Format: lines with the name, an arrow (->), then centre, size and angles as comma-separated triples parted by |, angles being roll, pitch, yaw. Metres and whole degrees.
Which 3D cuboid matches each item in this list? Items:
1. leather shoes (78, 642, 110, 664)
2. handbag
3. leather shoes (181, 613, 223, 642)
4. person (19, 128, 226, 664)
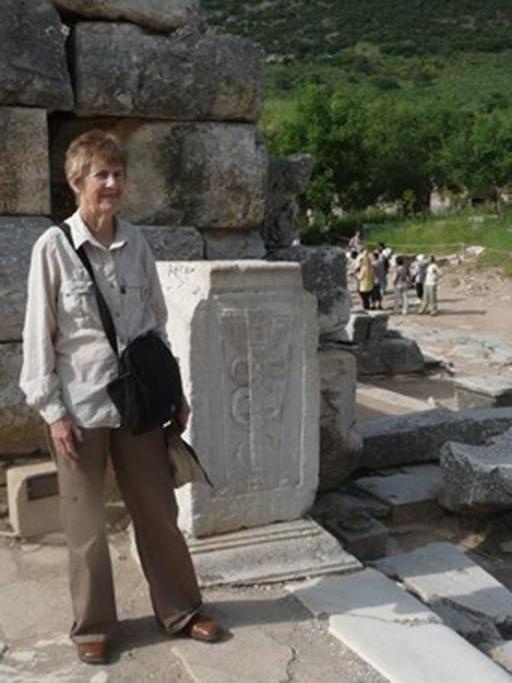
leather shoes -> -0.590, 1.126, 4.985 | 0.104, 0.078, 0.045 | -3, 2, -7
handbag -> -0.426, 0.153, 5.024 | 0.162, 0.370, 0.244 | -7, 10, 31
leather shoes -> -0.199, 1.060, 5.116 | 0.134, 0.069, 0.072 | -7, 4, 32
person -> -0.531, 0.189, 5.082 | 0.669, 1.910, 0.370 | -1, 6, -12
